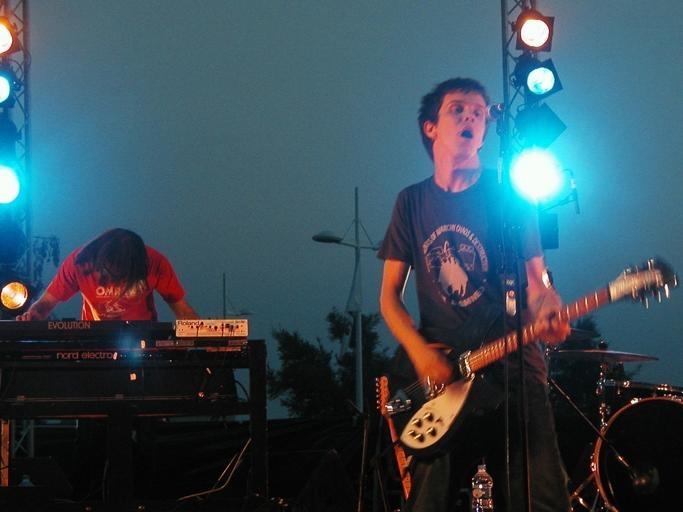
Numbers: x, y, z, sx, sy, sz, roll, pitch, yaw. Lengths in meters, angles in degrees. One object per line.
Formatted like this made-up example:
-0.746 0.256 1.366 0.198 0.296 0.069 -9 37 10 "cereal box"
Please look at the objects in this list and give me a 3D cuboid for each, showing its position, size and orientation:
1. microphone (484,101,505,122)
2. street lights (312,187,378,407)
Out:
1.290 -1.213 8.434 0.099 0.150 0.151 1 -6 -2 "microphone"
0.116 0.466 11.820 0.626 2.801 0.681 -6 -15 12 "street lights"
